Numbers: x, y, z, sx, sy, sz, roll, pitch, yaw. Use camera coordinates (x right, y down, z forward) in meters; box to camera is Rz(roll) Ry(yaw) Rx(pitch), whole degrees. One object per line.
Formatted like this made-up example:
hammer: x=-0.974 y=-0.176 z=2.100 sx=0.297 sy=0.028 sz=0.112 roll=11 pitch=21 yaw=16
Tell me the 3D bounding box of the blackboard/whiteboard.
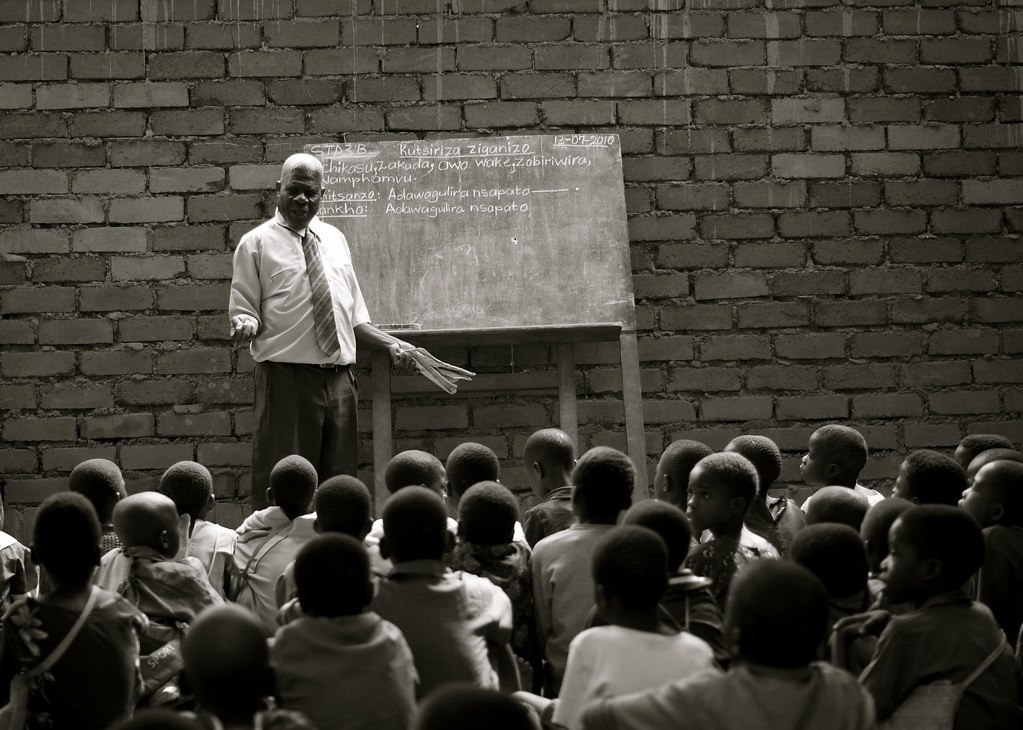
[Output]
blackboard/whiteboard: x=-0.188 y=-0.625 z=9.270 sx=1.702 sy=0.908 sz=0.060 roll=-4 pitch=7 yaw=-31
